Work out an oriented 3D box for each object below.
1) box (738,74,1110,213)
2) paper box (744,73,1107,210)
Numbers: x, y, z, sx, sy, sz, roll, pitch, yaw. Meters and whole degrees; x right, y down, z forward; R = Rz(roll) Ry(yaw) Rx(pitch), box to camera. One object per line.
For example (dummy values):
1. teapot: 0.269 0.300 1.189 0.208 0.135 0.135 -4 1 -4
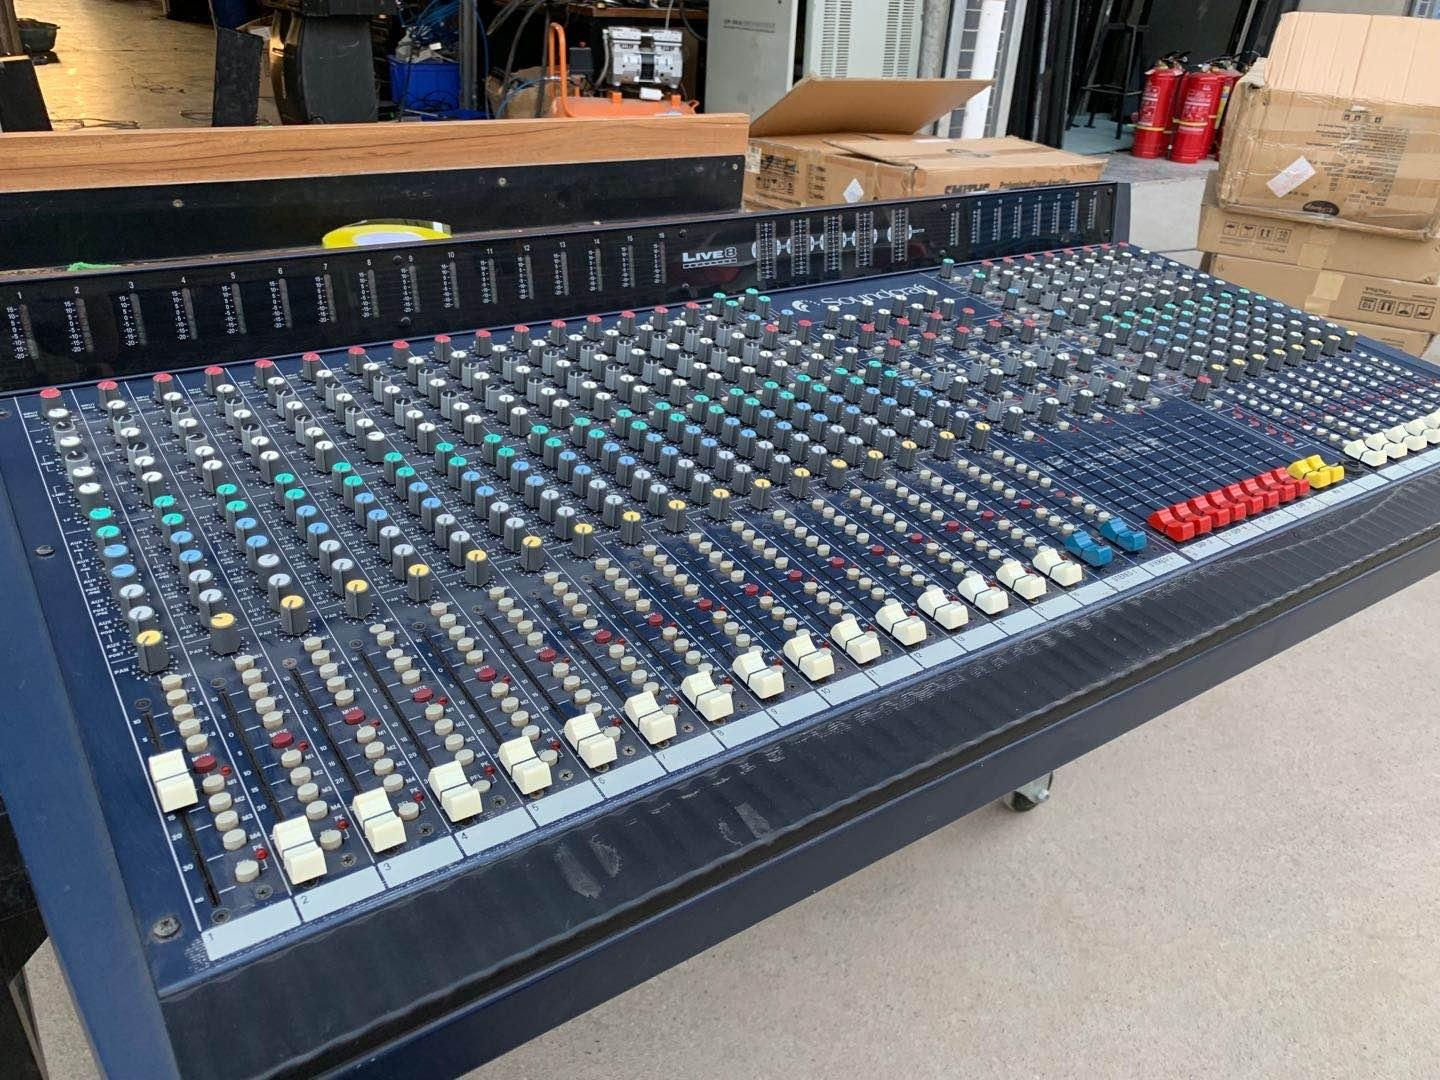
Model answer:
1. box: 0.667 -1.357 4.374 0.949 0.418 0.761 1 26 -24
2. paper box: 0.639 -1.482 4.332 0.784 0.367 0.807 25 50 36
